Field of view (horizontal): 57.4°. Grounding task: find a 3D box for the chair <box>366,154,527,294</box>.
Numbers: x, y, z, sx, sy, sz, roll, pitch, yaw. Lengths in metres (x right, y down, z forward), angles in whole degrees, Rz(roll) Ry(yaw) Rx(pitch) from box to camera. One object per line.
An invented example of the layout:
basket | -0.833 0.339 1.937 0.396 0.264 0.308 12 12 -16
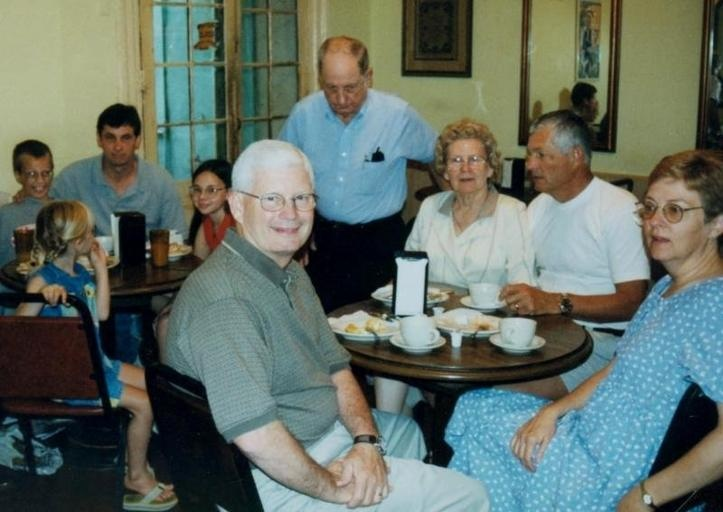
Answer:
chair | 0.511 -0.018 3.416 0.622 0.568 0.345 8 20 21

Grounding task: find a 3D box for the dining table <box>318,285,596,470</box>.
dining table | 0.469 0.257 2.625 0.775 0.553 0.768 8 18 25

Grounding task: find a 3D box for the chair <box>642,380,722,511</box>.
chair | 1.005 0.595 2.109 0.148 0.366 0.270 10 -18 15

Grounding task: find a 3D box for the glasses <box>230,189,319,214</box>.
glasses | -0.276 -0.173 2.119 0.247 0.079 0.085 -6 14 -10

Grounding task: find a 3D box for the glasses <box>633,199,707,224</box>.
glasses | 1.059 -0.156 2.312 0.090 0.078 0.235 -13 17 -35
